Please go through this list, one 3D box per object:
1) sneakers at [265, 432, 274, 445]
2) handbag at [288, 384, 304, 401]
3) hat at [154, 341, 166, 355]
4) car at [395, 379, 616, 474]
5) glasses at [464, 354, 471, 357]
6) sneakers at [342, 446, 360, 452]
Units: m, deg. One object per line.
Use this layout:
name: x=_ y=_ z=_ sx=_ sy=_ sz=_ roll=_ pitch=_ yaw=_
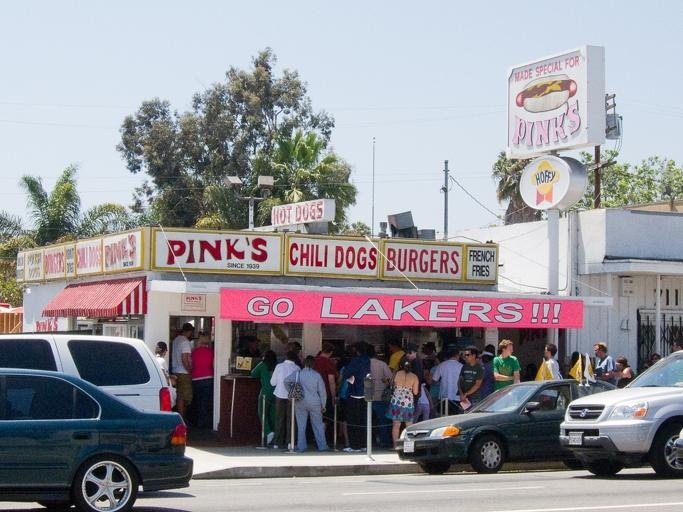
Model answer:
sneakers: x=-1.623 y=4.198 z=29.594 sx=0.151 sy=0.263 sz=0.346 roll=1 pitch=-6 yaw=-15
handbag: x=-1.008 y=3.048 z=28.735 sx=0.330 sy=0.383 sz=0.192 roll=2 pitch=4 yaw=9
hat: x=-4.118 y=2.086 z=29.124 sx=0.201 sy=0.288 sz=0.271 roll=4 pitch=1 yaw=1
car: x=3.532 y=3.595 z=27.210 sx=4.520 sy=1.609 sz=1.922 roll=3 pitch=-8 yaw=-24
glasses: x=2.946 y=2.287 z=29.717 sx=0.101 sy=0.041 sz=0.108 roll=2 pitch=-2 yaw=-7
sneakers: x=0.243 y=4.416 z=29.444 sx=0.407 sy=0.172 sz=0.131 roll=-4 pitch=-5 yaw=22
